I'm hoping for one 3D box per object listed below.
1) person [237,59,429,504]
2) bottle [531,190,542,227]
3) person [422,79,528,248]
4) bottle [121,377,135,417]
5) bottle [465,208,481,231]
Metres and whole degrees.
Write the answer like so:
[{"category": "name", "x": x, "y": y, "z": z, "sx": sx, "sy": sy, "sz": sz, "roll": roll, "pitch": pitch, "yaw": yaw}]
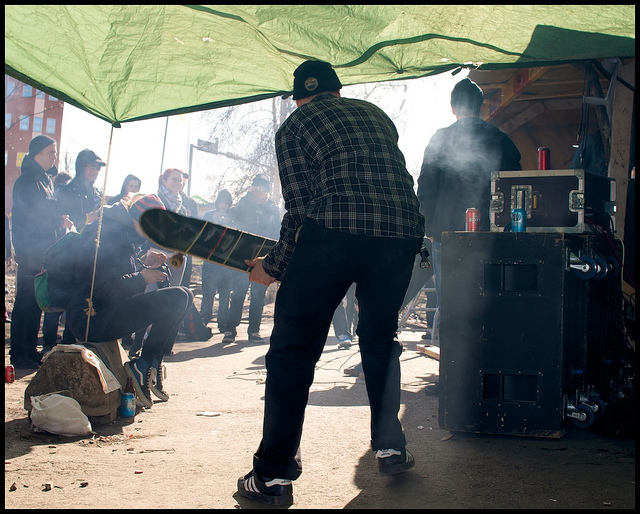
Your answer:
[{"category": "person", "x": 0.062, "y": 0.182, "z": 3.294, "sx": 0.981, "sy": 2.094, "sz": 0.361, "roll": 0, "pitch": 3, "yaw": -19}, {"category": "bottle", "x": 1.540, "y": -0.342, "z": 4.364, "sx": 0.071, "sy": 0.241, "sz": 0.024, "roll": 1, "pitch": 3, "yaw": 7}, {"category": "person", "x": 1.197, "y": -0.805, "z": 4.936, "sx": 0.776, "sy": 1.389, "sz": 0.705, "roll": 1, "pitch": 3, "yaw": 17}, {"category": "bottle", "x": -1.390, "y": 1.014, "z": 4.448, "sx": 0.082, "sy": 0.237, "sz": 0.248, "roll": 0, "pitch": 2, "yaw": -17}, {"category": "bottle", "x": 1.099, "y": -0.271, "z": 4.410, "sx": 0.085, "sy": 0.171, "sz": 0.366, "roll": 1, "pitch": 2, "yaw": 10}]
